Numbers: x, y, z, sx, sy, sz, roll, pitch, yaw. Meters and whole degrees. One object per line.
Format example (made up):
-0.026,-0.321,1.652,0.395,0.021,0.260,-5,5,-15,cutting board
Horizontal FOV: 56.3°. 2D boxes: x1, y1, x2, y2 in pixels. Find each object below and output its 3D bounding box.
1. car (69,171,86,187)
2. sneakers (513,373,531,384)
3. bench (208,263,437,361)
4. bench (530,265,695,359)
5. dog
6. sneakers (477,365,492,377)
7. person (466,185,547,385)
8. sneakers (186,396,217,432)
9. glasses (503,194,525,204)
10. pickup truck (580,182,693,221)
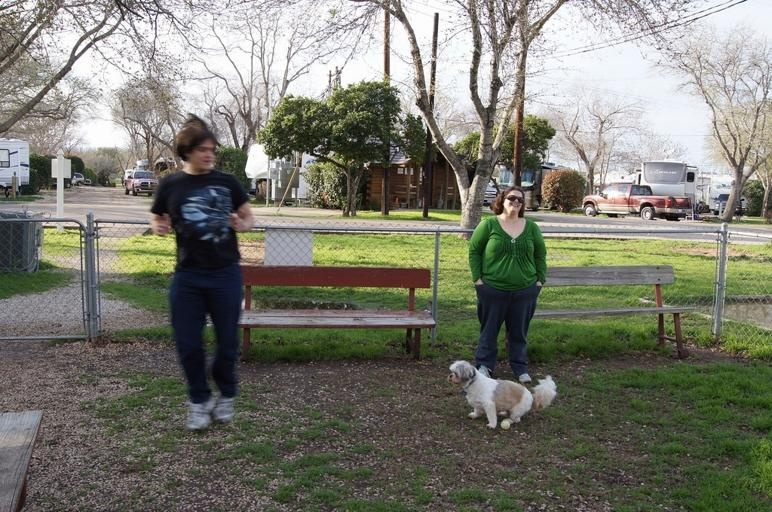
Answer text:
-25.605,-6.191,59.500,1.572,1.319,2.562,-3,19,-23,car
1.643,1.484,8.721,0.108,0.102,0.233,-1,-9,1,sneakers
-0.724,0.750,9.108,2.646,1.093,1.000,0,11,-4,bench
3.064,0.733,9.675,2.034,1.077,0.741,0,11,-12,bench
1.309,1.561,8.097,1.197,0.653,0.426,3,1,-2,dog
1.141,1.346,8.445,0.162,0.082,0.116,45,4,22,sneakers
1.430,0.361,8.579,0.897,2.347,0.454,2,5,4,person
-1.958,1.601,7.485,0.209,0.276,0.618,-3,13,-1,sneakers
1.523,-0.670,8.538,0.224,0.088,0.134,1,5,0,glasses
12.080,-2.530,34.539,1.869,1.218,4.097,2,8,-30,pickup truck
